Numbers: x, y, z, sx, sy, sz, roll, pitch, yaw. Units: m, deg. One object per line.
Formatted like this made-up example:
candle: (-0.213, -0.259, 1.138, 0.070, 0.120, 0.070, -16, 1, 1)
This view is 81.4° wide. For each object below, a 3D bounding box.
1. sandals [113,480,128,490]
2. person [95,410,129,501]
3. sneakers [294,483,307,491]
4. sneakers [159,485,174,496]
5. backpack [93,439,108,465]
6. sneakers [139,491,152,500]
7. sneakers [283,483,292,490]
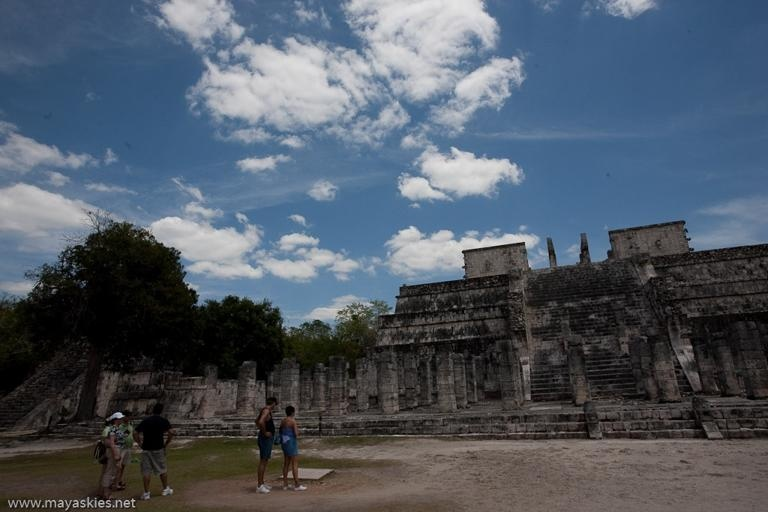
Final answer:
sandals: (-8.507, 7.246, 14.247, 0.546, 0.203, 0.188, -5, -7, 41)
person: (-8.399, 6.078, 13.711, 0.591, 2.443, 0.767, -4, -8, 6)
sneakers: (-2.609, 7.163, 13.864, 0.300, 0.117, 0.152, 0, -4, -2)
sneakers: (-6.685, 7.183, 13.733, 0.196, 0.197, 0.454, -1, -4, 4)
backpack: (-8.770, 6.023, 13.792, 0.293, 0.779, 0.792, 2, -9, -34)
sneakers: (-7.233, 7.193, 13.478, 0.447, 0.177, 0.172, -11, -22, 32)
sneakers: (-3.053, 7.173, 13.986, 0.101, 0.101, 0.269, 0, -7, 12)
